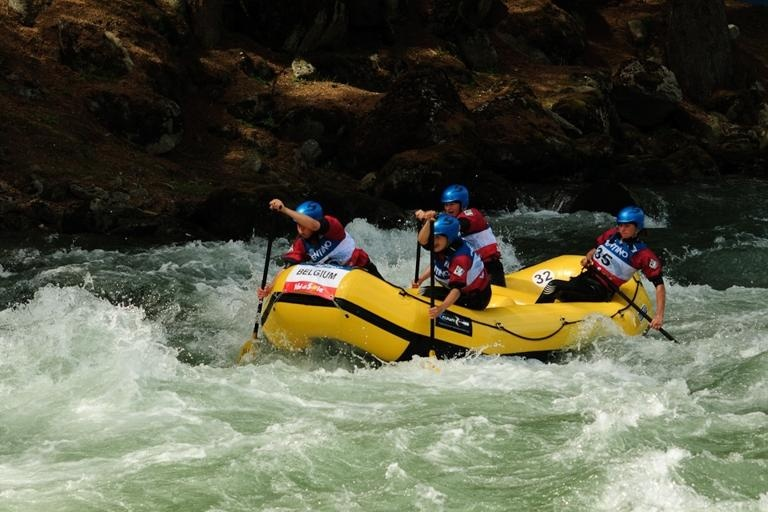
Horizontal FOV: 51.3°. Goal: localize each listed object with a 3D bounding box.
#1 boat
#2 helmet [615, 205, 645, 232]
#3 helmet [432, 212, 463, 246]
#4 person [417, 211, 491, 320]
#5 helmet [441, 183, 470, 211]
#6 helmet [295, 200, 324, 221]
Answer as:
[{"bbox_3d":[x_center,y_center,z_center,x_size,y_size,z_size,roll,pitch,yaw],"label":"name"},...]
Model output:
[{"bbox_3d":[1.407,0.768,13.765,6.787,1.740,2.279,7,-2,-20],"label":"boat"},{"bbox_3d":[4.294,-0.673,13.914,0.541,0.346,0.372,-7,6,-39],"label":"helmet"},{"bbox_3d":[0.994,-0.430,12.701,0.497,0.472,0.380,-2,9,0],"label":"helmet"},{"bbox_3d":[1.143,0.167,13.038,0.983,1.128,1.503,-12,-37,1],"label":"person"},{"bbox_3d":[1.337,-1.091,14.327,0.607,0.426,0.402,-21,20,-9],"label":"helmet"},{"bbox_3d":[-1.229,-0.769,13.342,0.421,0.323,0.461,7,-2,6],"label":"helmet"}]
